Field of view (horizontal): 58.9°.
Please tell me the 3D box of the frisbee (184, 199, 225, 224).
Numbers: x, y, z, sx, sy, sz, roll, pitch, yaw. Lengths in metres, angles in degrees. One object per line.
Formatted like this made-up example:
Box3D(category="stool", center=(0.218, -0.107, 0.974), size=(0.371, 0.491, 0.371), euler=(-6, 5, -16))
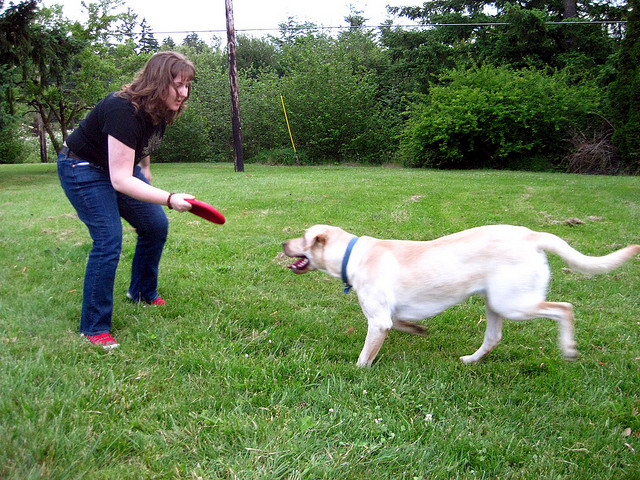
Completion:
Box3D(category="frisbee", center=(-1.154, -0.256, 5.689), size=(0.287, 0.080, 0.278), euler=(31, -14, -29))
